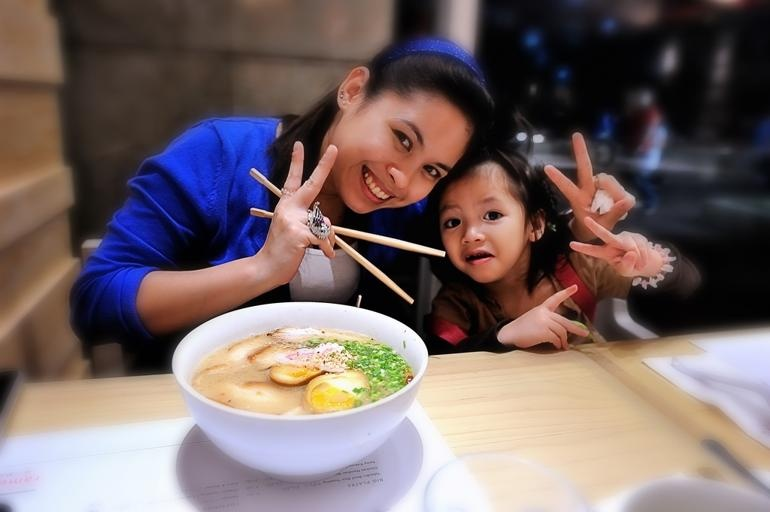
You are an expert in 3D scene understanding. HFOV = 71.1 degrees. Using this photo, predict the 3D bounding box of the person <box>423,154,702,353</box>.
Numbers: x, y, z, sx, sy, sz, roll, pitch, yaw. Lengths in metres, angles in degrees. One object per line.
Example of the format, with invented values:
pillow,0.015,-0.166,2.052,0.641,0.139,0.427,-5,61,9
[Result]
person,0.597,0.039,2.318,0.981,0.794,0.740,-1,-15,-10
